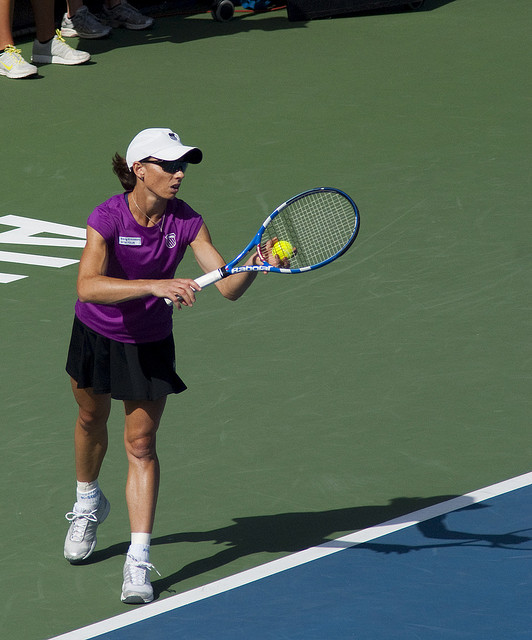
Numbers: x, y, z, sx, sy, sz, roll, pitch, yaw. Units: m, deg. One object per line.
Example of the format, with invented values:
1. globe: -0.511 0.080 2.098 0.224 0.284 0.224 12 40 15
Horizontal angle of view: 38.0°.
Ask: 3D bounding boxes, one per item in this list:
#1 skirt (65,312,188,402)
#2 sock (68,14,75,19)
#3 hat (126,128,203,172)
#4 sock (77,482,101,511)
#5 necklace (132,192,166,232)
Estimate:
1. skirt: -0.611 0.158 3.232 0.497 0.315 0.355 -4 22 -3
2. sock: -3.136 -4.886 12.430 0.044 0.055 0.070 17 13 24
3. hat: -0.422 -0.706 3.113 0.306 0.108 0.172 0 16 28
4. sock: -0.800 0.801 3.523 0.064 0.125 0.108 -3 2 16
5. necklace: -0.472 -0.435 3.082 0.126 0.153 0.098 -15 2 -24
